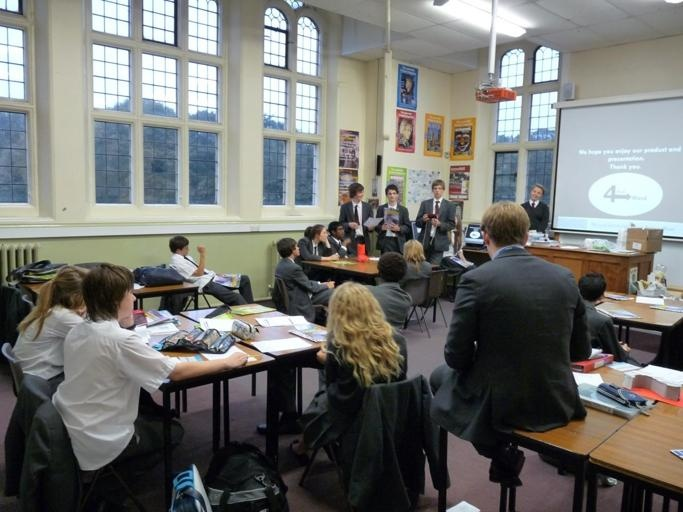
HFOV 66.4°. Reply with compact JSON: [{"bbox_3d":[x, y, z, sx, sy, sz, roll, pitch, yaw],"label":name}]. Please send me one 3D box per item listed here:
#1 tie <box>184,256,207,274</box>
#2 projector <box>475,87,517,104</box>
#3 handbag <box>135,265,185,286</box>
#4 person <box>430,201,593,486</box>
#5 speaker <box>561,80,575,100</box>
[{"bbox_3d":[-1.733,0.097,6.223,0.221,0.162,0.199,-10,9,-44],"label":"tie"},{"bbox_3d":[1.785,-1.889,6.068,0.289,0.188,0.387,-8,11,-41],"label":"projector"},{"bbox_3d":[-2.003,0.207,5.553,0.270,0.104,0.319,-4,8,-39],"label":"handbag"},{"bbox_3d":[0.967,0.504,3.098,0.831,1.603,0.902,-2,4,15],"label":"person"},{"bbox_3d":[3.583,-2.612,8.267,0.225,0.338,0.229,7,11,41],"label":"speaker"}]
